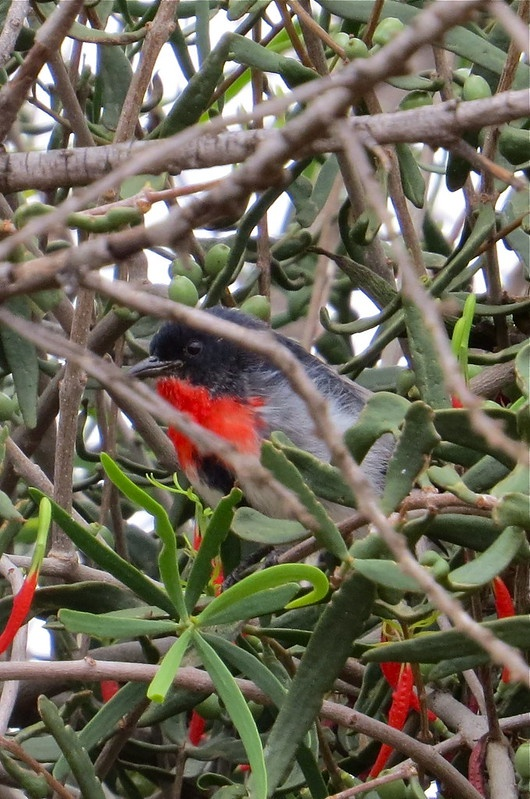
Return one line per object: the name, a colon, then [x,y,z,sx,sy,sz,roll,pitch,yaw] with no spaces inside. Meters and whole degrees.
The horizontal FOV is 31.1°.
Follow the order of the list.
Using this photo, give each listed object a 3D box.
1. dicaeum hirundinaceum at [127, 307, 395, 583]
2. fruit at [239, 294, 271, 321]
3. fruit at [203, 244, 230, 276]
dicaeum hirundinaceum: [-0.016,0.034,2.684,0.514,0.566,0.865,-3,3,36]
fruit: [-0.013,-0.221,2.336,0.081,0.057,0.055,14,91,6]
fruit: [-0.123,-0.325,2.335,0.052,0.114,0.076,6,53,-5]
